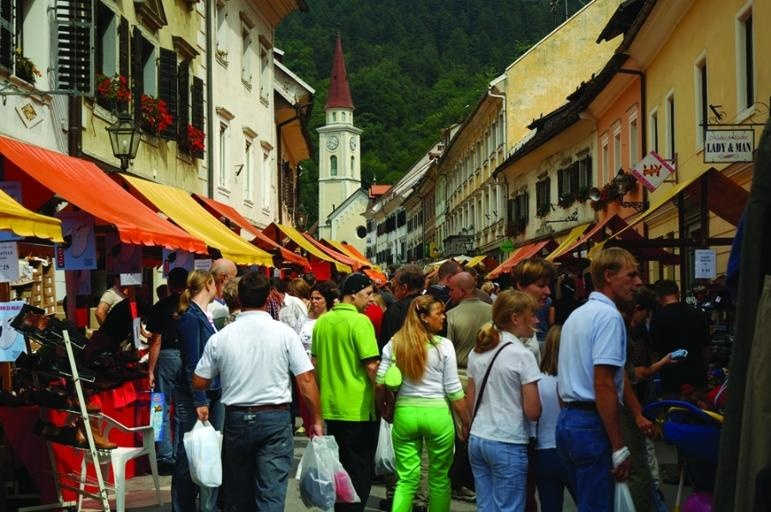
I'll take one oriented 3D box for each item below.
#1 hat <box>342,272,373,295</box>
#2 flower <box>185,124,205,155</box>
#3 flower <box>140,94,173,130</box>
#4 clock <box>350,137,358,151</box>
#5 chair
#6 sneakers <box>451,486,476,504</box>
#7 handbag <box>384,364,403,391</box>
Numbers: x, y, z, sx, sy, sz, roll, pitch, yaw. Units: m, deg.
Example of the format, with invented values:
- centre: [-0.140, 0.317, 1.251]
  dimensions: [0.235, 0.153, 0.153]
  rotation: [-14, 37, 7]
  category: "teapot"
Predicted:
- centre: [-0.377, 0.344, 14.200]
  dimensions: [0.240, 0.323, 0.490]
  rotation: [-4, -9, 30]
  category: "hat"
- centre: [-3.988, -2.425, 24.297]
  dimensions: [0.342, 0.502, 0.512]
  rotation: [-7, -22, 28]
  category: "flower"
- centre: [-4.439, -2.686, 22.122]
  dimensions: [0.280, 0.609, 0.784]
  rotation: [-2, -8, 20]
  category: "flower"
- centre: [-3.737, -12.529, 130.991]
  dimensions: [0.179, 1.496, 1.506]
  rotation: [-3, -2, 19]
  category: "clock"
- centre: [-3.450, 2.571, 14.669]
  dimensions: [1.240, 1.655, 1.284]
  rotation: [-5, -6, 42]
  category: "chair"
- centre: [0.994, 3.043, 14.887]
  dimensions: [0.256, 0.114, 0.177]
  rotation: [8, -3, -13]
  category: "sneakers"
- centre: [0.087, 1.382, 13.351]
  dimensions: [0.209, 0.284, 0.111]
  rotation: [0, -7, -1]
  category: "handbag"
